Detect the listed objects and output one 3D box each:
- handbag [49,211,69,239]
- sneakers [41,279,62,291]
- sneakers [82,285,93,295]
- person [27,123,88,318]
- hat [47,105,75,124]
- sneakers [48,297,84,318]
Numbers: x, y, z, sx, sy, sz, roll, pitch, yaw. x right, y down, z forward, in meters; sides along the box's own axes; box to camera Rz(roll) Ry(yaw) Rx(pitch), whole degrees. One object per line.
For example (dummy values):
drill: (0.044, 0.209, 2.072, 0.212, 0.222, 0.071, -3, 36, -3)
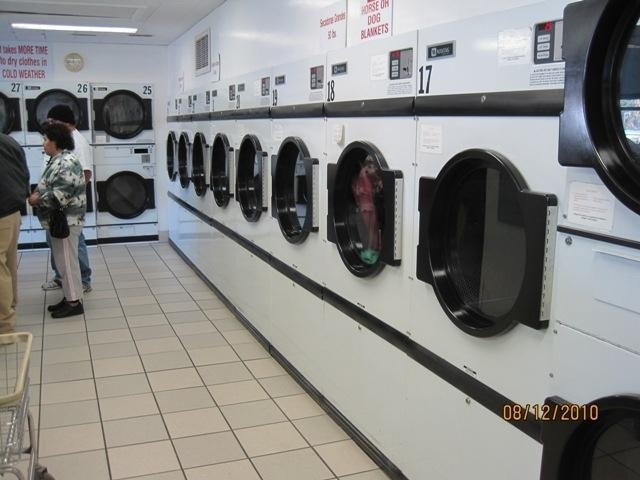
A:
handbag: (-2.573, -0.148, 4.227, 0.189, 0.294, 0.134, -12, -13, 39)
sneakers: (-3.372, 0.574, 5.416, 0.213, 0.109, 0.115, 3, 3, -10)
sneakers: (-2.837, 0.615, 5.243, 0.087, 0.130, 0.278, 1, -3, -18)
person: (-2.614, -0.162, 4.355, 0.567, 2.011, 0.516, 10, 14, 44)
hat: (-2.779, -1.346, 4.619, 0.227, 0.208, 0.450, -7, 14, -32)
sneakers: (-2.704, 0.747, 4.597, 0.201, 0.107, 0.256, 5, 1, -40)
